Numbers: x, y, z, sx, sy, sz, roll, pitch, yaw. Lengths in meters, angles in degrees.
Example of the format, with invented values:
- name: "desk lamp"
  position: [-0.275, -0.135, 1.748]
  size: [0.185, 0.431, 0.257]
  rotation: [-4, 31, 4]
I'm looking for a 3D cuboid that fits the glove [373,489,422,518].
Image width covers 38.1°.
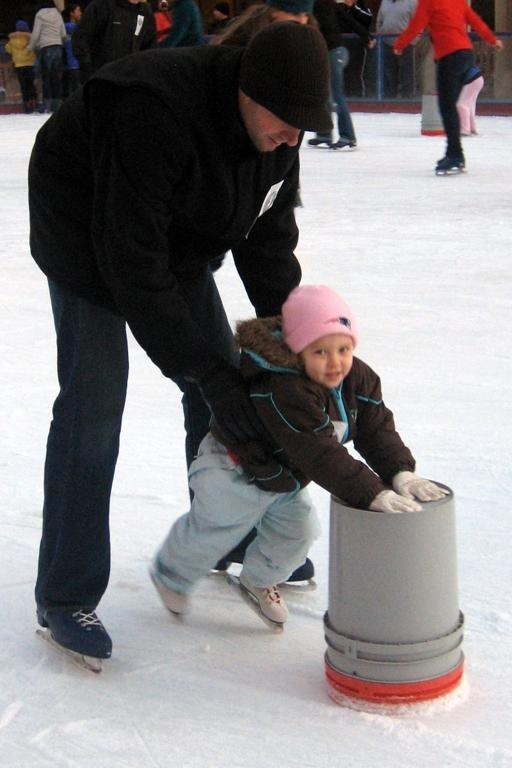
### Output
- name: "glove"
  position: [0.262, 0.218, 1.368]
  size: [0.058, 0.012, 0.041]
  rotation: [10, 26, 25]

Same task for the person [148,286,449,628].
- name: "person"
  position: [0.119, 0.227, 1.694]
  size: [0.754, 0.823, 0.330]
  rotation: [20, 18, 40]

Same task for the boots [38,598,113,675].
- name: "boots"
  position: [-0.455, 0.567, 1.725]
  size: [0.283, 0.106, 0.078]
  rotation: [18, 23, 42]

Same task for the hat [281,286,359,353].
- name: "hat"
  position: [0.131, -0.119, 1.632]
  size: [0.165, 0.165, 0.201]
  rotation: [2, 4, -24]

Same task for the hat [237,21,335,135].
- name: "hat"
  position: [0.048, -0.534, 1.297]
  size: [0.155, 0.202, 0.086]
  rotation: [-2, 4, 2]

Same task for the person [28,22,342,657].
- name: "person"
  position: [-0.155, -0.100, 1.714]
  size: [0.813, 1.381, 0.576]
  rotation: [12, 20, 19]
